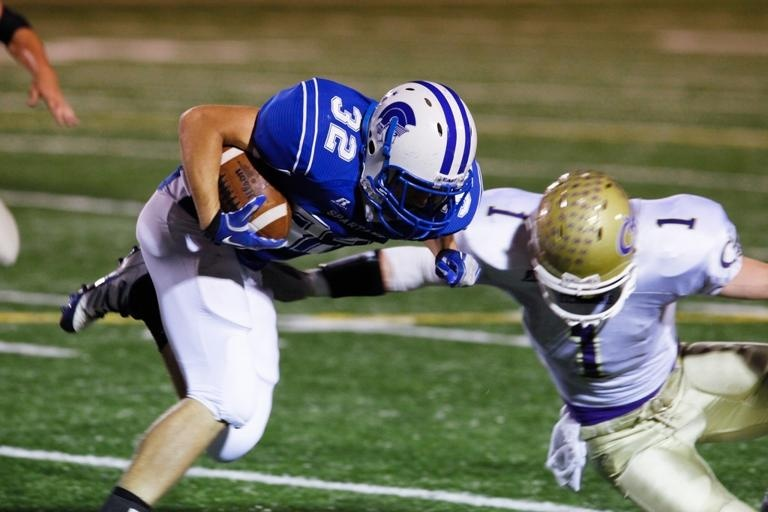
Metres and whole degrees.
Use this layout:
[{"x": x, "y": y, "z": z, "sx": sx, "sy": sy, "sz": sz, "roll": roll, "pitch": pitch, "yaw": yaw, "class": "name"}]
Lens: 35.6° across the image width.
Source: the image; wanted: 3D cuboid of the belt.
[{"x": 1.211, "y": 0.730, "z": 5.817, "sx": 0.470, "sy": 0.170, "sz": 0.352, "roll": -30, "pitch": -2, "yaw": 14, "class": "belt"}]

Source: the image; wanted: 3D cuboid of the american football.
[{"x": -0.633, "y": -0.294, "z": 5.739, "sx": 0.477, "sy": 0.237, "sz": 0.246, "roll": 50, "pitch": 38, "yaw": 11, "class": "american football"}]

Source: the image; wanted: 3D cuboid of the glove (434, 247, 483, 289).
[{"x": 0.330, "y": 0.063, "z": 5.757, "sx": 0.150, "sy": 0.201, "sz": 0.225, "roll": 7, "pitch": 18, "yaw": -9, "class": "glove"}]
